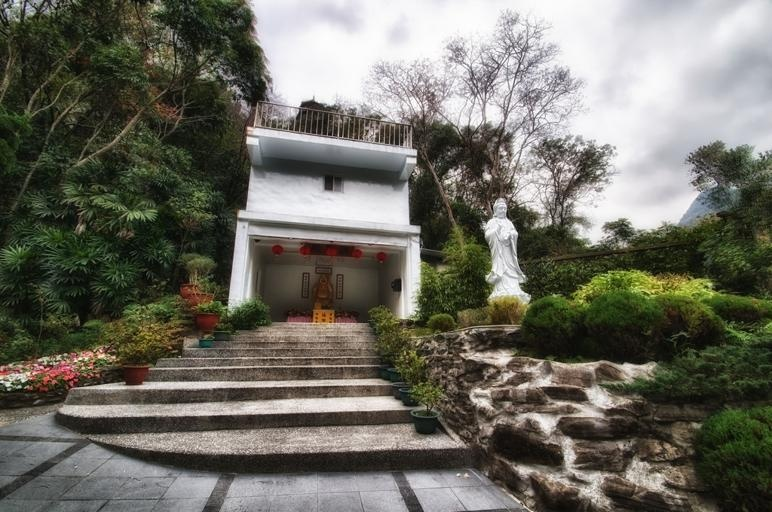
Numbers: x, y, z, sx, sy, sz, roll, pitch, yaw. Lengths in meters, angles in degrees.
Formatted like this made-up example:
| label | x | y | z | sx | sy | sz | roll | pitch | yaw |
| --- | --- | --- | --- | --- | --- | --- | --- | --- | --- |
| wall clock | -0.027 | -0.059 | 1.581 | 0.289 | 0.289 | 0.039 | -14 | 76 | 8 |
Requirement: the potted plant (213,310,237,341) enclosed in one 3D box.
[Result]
| label | x | y | z | sx | sy | sz | roll | pitch | yaw |
| --- | --- | --- | --- | --- | --- | --- | --- | --- | --- |
| potted plant | -3.525 | 1.494 | 9.433 | 0.542 | 0.697 | 0.521 | 0 | -24 | -9 |

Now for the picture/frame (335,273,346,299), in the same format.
| label | x | y | z | sx | sy | sz | roll | pitch | yaw |
| --- | --- | --- | --- | --- | --- | --- | --- | --- | --- |
| picture/frame | -1.562 | 0.970 | 14.450 | 0.298 | 0.833 | 0.119 | 4 | -6 | -6 |

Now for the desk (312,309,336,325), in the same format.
| label | x | y | z | sx | sy | sz | roll | pitch | yaw |
| --- | --- | --- | --- | --- | --- | --- | --- | --- | --- |
| desk | -1.754 | 1.604 | 11.999 | 0.562 | 0.321 | 2.660 | 4 | -6 | -8 |

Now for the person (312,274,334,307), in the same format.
| label | x | y | z | sx | sy | sz | roll | pitch | yaw |
| --- | --- | --- | --- | --- | --- | --- | --- | --- | --- |
| person | -2.007 | 1.056 | 13.828 | 0.553 | 1.119 | 1.150 | 1 | -6 | 18 |

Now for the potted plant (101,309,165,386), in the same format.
| label | x | y | z | sx | sy | sz | roll | pitch | yaw |
| --- | --- | --- | --- | --- | --- | --- | --- | --- | --- |
| potted plant | -4.827 | 1.670 | 8.395 | 1.455 | 1.581 | 1.182 | 3 | -15 | -20 |

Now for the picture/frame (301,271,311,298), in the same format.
| label | x | y | z | sx | sy | sz | roll | pitch | yaw |
| --- | --- | --- | --- | --- | --- | --- | --- | --- | --- |
| picture/frame | -2.668 | 0.900 | 14.283 | 0.292 | 0.845 | 0.088 | 6 | -7 | -24 |

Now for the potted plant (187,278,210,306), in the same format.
| label | x | y | z | sx | sy | sz | roll | pitch | yaw |
| --- | --- | --- | --- | --- | --- | --- | --- | --- | --- |
| potted plant | -4.516 | 0.815 | 10.355 | 0.607 | 0.446 | 0.602 | -9 | -13 | 31 |
